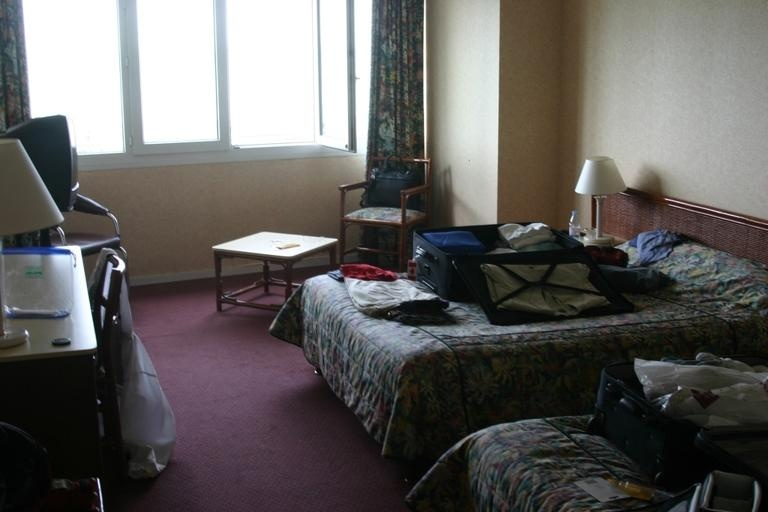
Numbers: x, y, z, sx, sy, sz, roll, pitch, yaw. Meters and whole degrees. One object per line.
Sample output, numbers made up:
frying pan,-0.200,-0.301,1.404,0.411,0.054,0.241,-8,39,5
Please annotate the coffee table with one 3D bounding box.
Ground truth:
coffee table,-0.856,0.022,4.537,0.753,0.538,0.752,5,14,21

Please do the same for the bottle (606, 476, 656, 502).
bottle,0.812,0.757,1.899,0.075,0.019,0.072,3,15,-1

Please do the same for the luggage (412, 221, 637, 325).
luggage,0.738,0.059,3.329,0.990,0.340,0.906,-6,15,-13
